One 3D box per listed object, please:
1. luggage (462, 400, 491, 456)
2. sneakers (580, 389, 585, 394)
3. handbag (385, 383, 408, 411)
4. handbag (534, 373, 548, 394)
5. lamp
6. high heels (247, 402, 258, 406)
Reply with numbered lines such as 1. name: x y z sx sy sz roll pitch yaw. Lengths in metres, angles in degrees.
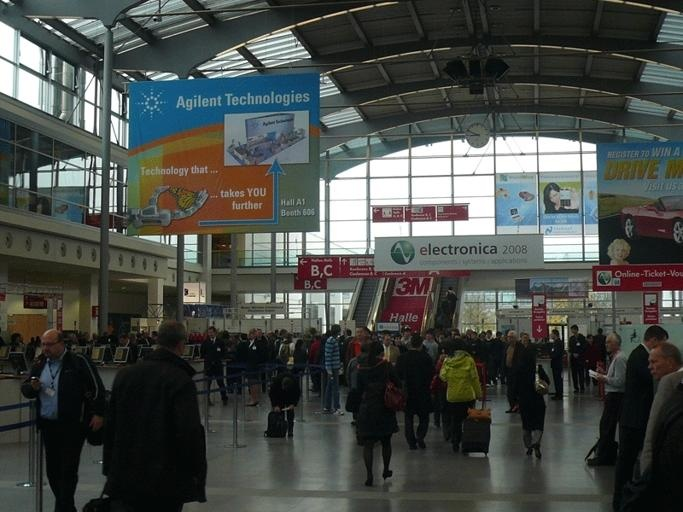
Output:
1. luggage: 2.150 2.738 11.075 0.472 0.724 0.422 -5 -36 24
2. sneakers: 6.871 3.838 20.387 0.132 0.118 0.121 1 -8 -8
3. handbag: 0.707 1.831 9.344 0.200 0.413 0.433 -20 -23 22
4. handbag: 3.004 1.909 10.793 0.180 0.354 0.370 -4 -10 25
5. lamp: 4.608 -6.634 24.482 1.842 1.682 3.666 1 1 8
6. high heels: -2.123 3.551 17.229 0.271 0.106 0.089 4 -7 10
